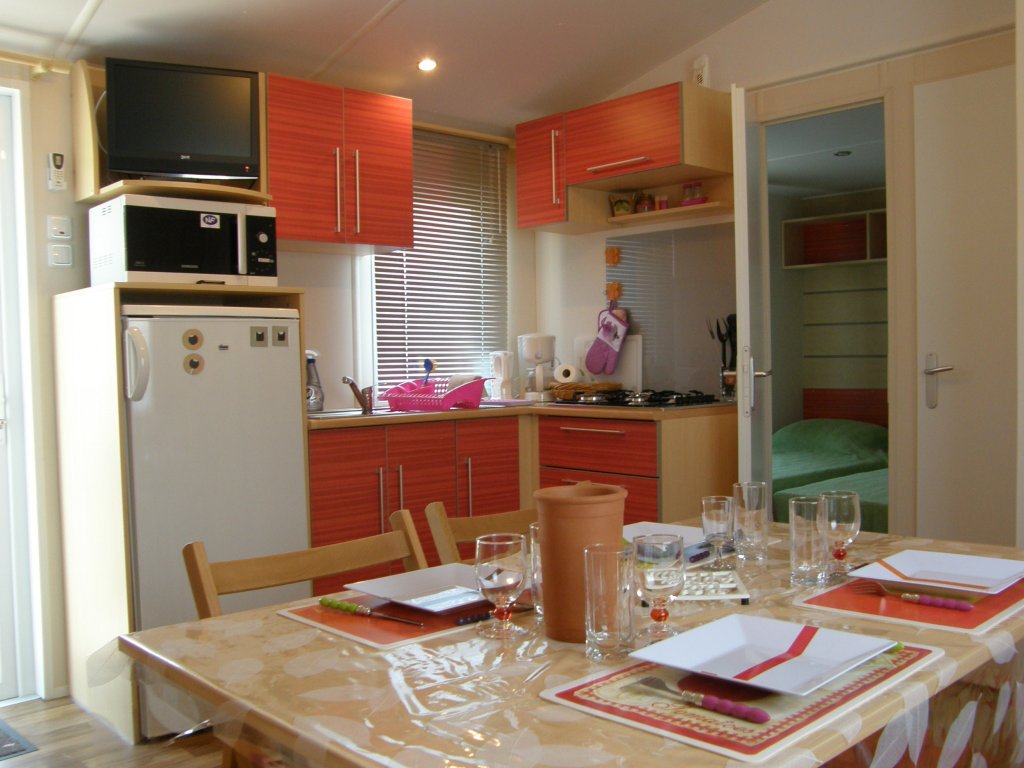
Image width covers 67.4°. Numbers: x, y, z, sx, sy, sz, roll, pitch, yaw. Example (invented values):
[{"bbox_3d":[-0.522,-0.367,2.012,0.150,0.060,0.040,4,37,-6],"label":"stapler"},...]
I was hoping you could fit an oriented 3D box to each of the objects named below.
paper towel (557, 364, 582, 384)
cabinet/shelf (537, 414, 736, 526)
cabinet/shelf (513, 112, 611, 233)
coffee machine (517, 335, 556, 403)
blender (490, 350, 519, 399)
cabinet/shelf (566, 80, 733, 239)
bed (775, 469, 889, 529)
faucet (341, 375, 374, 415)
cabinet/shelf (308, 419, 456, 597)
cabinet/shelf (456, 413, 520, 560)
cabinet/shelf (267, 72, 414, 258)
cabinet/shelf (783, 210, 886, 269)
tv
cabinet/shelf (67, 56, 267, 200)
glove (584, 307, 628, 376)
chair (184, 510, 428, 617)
[{"bbox_3d":[0.325,-0.050,4.530,0.107,0.103,0.120,-5,-9,9],"label":"paper towel"},{"bbox_3d":[0.487,0.374,4.069,0.697,0.653,0.433,3,19,22],"label":"cabinet/shelf"},{"bbox_3d":[0.290,-1.210,4.349,0.394,0.765,0.681,-3,4,-38],"label":"cabinet/shelf"},{"bbox_3d":[0.147,-0.107,4.715,0.242,0.388,0.250,4,12,29],"label":"coffee machine"},{"bbox_3d":[-0.098,-0.053,4.717,0.193,0.293,0.207,-1,-1,-4],"label":"blender"},{"bbox_3d":[0.690,-1.258,4.332,0.973,0.615,0.588,3,9,41],"label":"cabinet/shelf"},{"bbox_3d":[1.369,0.487,3.286,0.527,0.126,0.534,3,10,38],"label":"bed"},{"bbox_3d":[-0.830,0.059,4.071,0.106,0.179,0.469,-5,5,-18],"label":"faucet"},{"bbox_3d":[-0.559,0.567,3.729,0.813,0.762,0.303,-5,-9,15],"label":"cabinet/shelf"},{"bbox_3d":[-0.134,0.399,4.198,0.320,0.559,0.275,-2,1,-21],"label":"cabinet/shelf"},{"bbox_3d":[-0.785,-1.137,3.924,0.856,0.750,0.308,12,27,16],"label":"cabinet/shelf"},{"bbox_3d":[2.416,-1.053,5.657,0.225,0.347,0.771,-1,4,-42],"label":"cabinet/shelf"},{"bbox_3d":[-1.403,-1.125,3.292,0.616,0.444,0.057,2,8,-4],"label":"tv"},{"bbox_3d":[-1.385,-1.135,3.437,0.722,0.476,0.404,4,9,-3],"label":"cabinet/shelf"},{"bbox_3d":[0.587,-0.250,4.740,0.224,0.409,0.073,21,6,39],"label":"glove"},{"bbox_3d":[-0.673,0.539,2.326,0.571,0.340,0.233,-6,31,-26],"label":"chair"}]
